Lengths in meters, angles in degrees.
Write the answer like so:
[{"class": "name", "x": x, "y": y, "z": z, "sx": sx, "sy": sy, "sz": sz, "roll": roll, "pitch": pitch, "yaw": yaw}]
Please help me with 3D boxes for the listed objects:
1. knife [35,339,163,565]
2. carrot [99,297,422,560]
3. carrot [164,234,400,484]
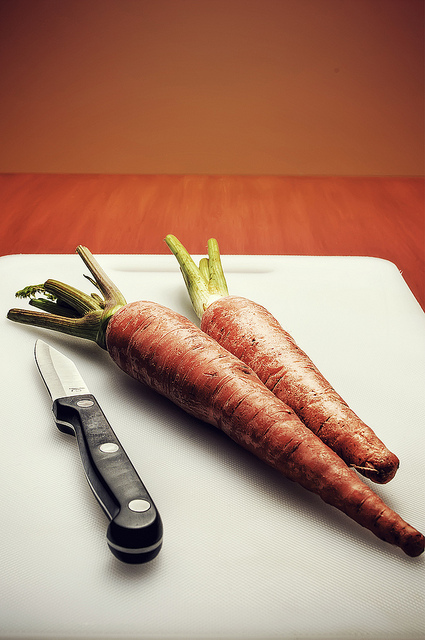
[{"class": "knife", "x": -0.123, "y": 0.078, "z": 0.546, "sx": 0.059, "sy": 0.037, "sz": 0.340, "roll": -4, "pitch": 28, "yaw": -23}, {"class": "carrot", "x": -0.025, "y": 0.069, "z": 0.597, "sx": 0.477, "sy": 0.096, "sz": 0.105, "roll": 34, "pitch": 73, "yaw": 33}, {"class": "carrot", "x": 0.051, "y": 0.020, "z": 0.695, "sx": 0.099, "sy": 0.084, "sz": 0.492, "roll": -7, "pitch": 27, "yaw": -19}]
